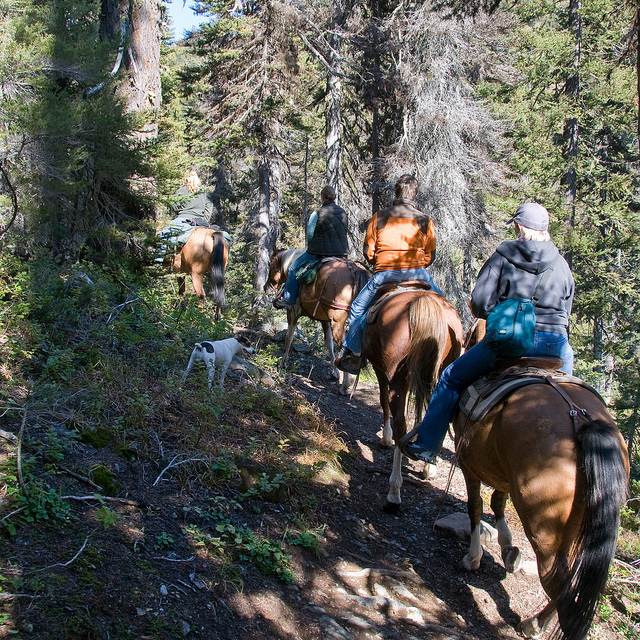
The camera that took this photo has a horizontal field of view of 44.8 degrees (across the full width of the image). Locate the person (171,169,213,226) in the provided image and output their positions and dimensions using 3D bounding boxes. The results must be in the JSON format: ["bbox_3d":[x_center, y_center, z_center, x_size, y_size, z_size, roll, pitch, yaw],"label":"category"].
[{"bbox_3d":[-2.516,-2.448,15.631,0.704,1.060,1.883,7,9,-9],"label":"person"}]

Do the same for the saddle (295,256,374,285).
[{"bbox_3d":[0.042,-0.821,12.637,0.790,0.543,0.815,-3,7,-7],"label":"saddle"}]

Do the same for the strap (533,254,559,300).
[{"bbox_3d":[2.176,-0.396,7.498,0.096,0.507,0.072,22,-11,13],"label":"strap"}]

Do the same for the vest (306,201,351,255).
[{"bbox_3d":[0.165,-1.549,12.619,0.531,0.941,0.559,-1,9,-6],"label":"vest"}]

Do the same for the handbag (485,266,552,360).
[{"bbox_3d":[1.928,-0.129,7.682,0.479,1.203,0.547,8,-24,28],"label":"handbag"}]

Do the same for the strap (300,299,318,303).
[{"bbox_3d":[-0.170,-0.321,12.708,0.078,0.073,0.487,2,1,-32],"label":"strap"}]

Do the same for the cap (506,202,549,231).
[{"bbox_3d":[2.096,-1.063,7.790,0.229,0.199,0.328,-8,27,-29],"label":"cap"}]

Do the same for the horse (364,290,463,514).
[{"bbox_3d":[1.077,0.923,9.492,1.237,2.587,2.028,4,11,0],"label":"horse"}]

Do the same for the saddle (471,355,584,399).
[{"bbox_3d":[2.004,0.467,7.551,0.558,0.170,0.587,-2,5,1],"label":"saddle"}]

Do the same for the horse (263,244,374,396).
[{"bbox_3d":[-0.035,-0.079,13.096,0.810,2.288,3.130,-4,8,-34],"label":"horse"}]

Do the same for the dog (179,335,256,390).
[{"bbox_3d":[-1.258,0.535,9.897,0.305,0.707,1.015,6,1,41],"label":"dog"}]

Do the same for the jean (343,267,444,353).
[{"bbox_3d":[0.882,-0.112,10.384,0.991,1.190,1.477,2,9,3],"label":"jean"}]

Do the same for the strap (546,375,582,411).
[{"bbox_3d":[2.180,0.628,6.978,0.093,0.059,0.477,-21,34,-5],"label":"strap"}]

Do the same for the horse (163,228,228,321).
[{"bbox_3d":[-2.346,-1.166,15.134,0.948,2.222,1.118,3,6,7],"label":"horse"}]
